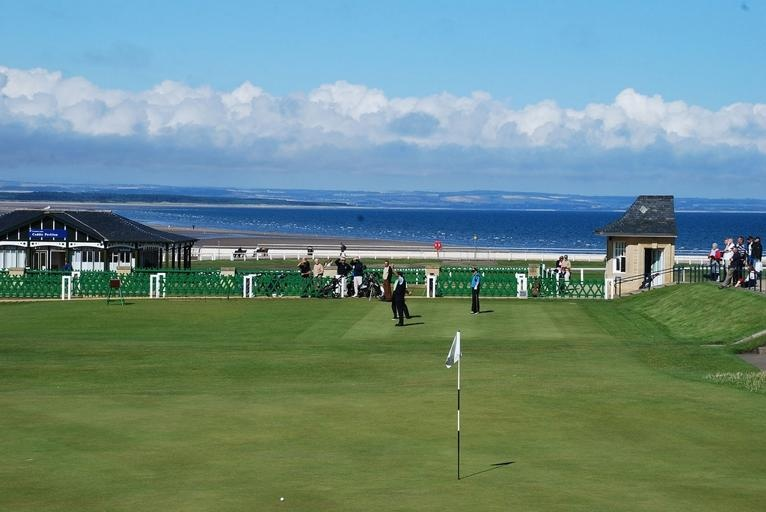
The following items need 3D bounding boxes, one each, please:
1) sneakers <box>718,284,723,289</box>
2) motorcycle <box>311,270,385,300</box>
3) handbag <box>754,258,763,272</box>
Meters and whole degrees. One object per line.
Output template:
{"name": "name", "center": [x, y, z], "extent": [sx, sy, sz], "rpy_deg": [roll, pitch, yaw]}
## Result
{"name": "sneakers", "center": [14.236, 1.309, 59.029], "extent": [0.213, 0.198, 0.549], "rpy_deg": [-1, -2, 26]}
{"name": "motorcycle", "center": [-1.565, 1.384, 64.095], "extent": [2.900, 1.253, 1.234], "rpy_deg": [-1, 2, 3]}
{"name": "handbag", "center": [15.621, 0.437, 58.249], "extent": [0.280, 0.555, 0.761], "rpy_deg": [5, 12, 23]}
